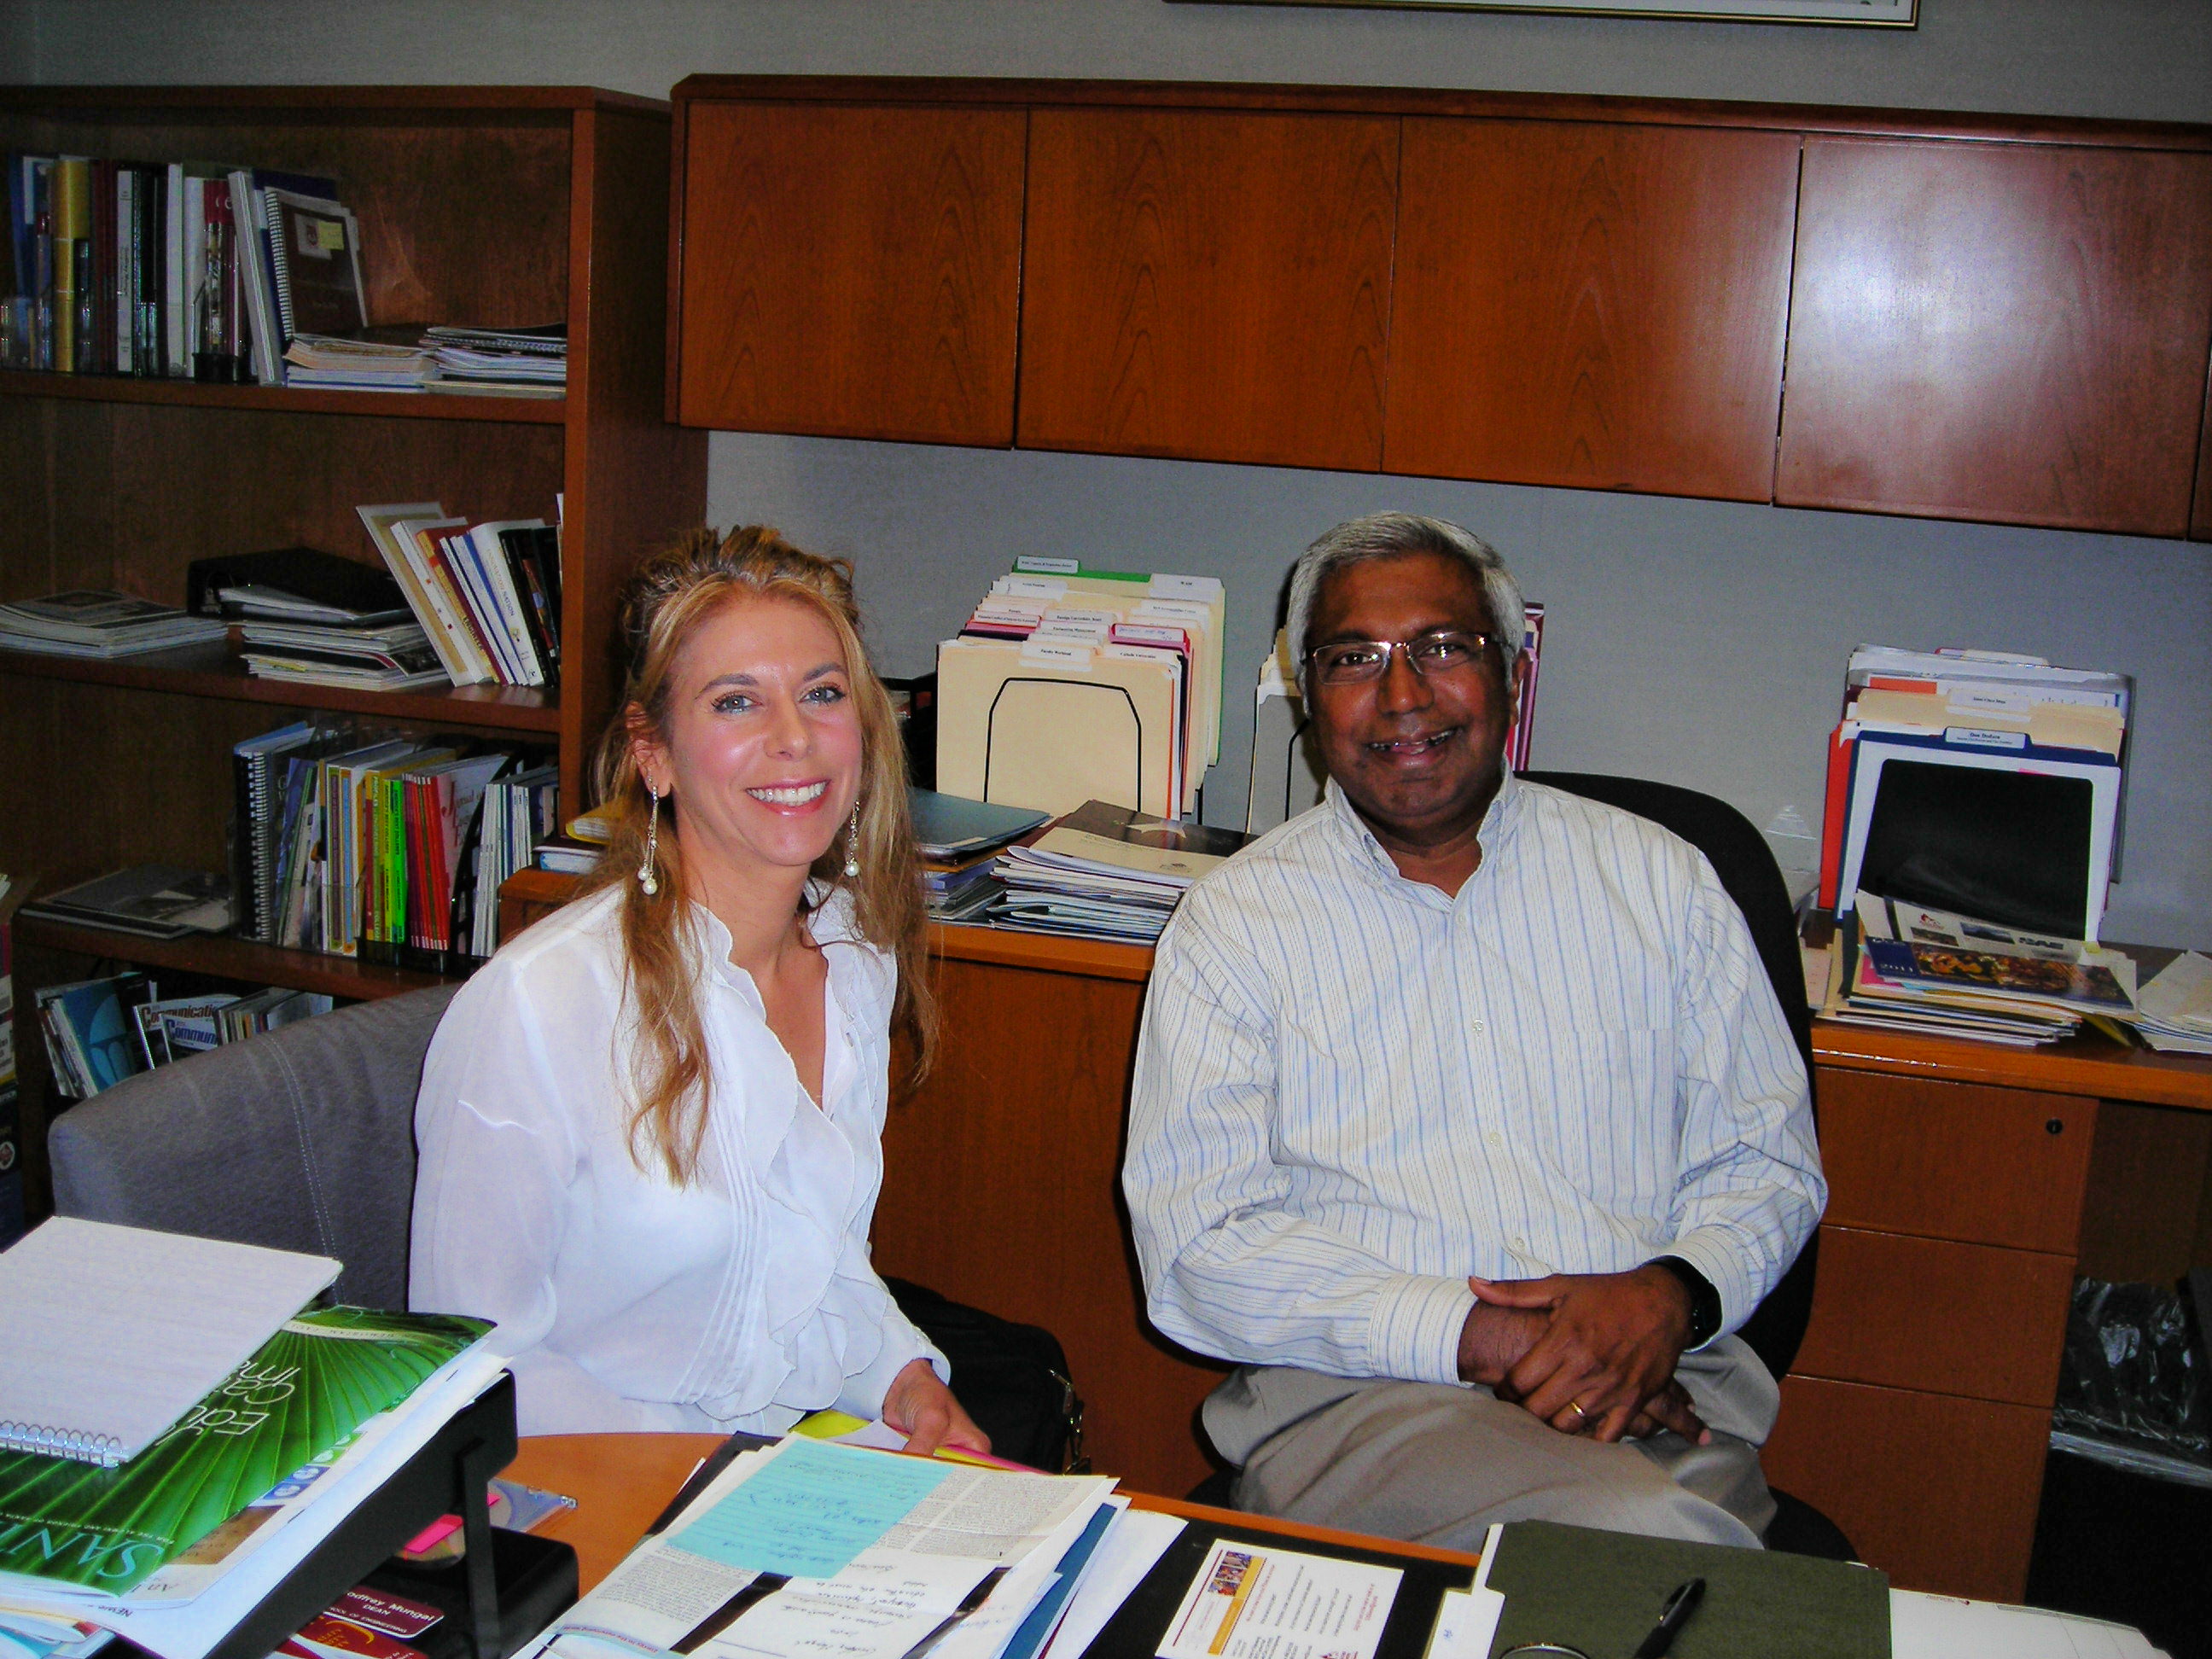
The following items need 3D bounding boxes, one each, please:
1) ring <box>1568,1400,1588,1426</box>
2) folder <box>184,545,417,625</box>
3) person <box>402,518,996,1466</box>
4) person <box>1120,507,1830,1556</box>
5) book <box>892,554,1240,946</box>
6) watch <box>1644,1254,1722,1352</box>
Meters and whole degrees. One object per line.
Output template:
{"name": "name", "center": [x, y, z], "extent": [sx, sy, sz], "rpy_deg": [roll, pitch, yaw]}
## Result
{"name": "ring", "center": [0.514, 0.637, 1.937], "extent": [0.020, 0.016, 0.021], "rpy_deg": [-8, 38, 6]}
{"name": "folder", "center": [-1.500, -0.476, 3.471], "extent": [0.285, 0.104, 0.292], "rpy_deg": [8, 11, 18]}
{"name": "person", "center": [-0.453, 0.157, 1.912], "extent": [0.563, 0.948, 0.587], "rpy_deg": [-1, 9, -12]}
{"name": "person", "center": [0.426, 0.210, 2.114], "extent": [0.764, 1.148, 0.641], "rpy_deg": [6, 10, 30]}
{"name": "book", "center": [-0.049, -0.141, 2.969], "extent": [0.542, 0.808, 0.551], "rpy_deg": [5, 16, 6]}
{"name": "watch", "center": [0.663, 0.540, 2.026], "extent": [0.082, 0.099, 0.054], "rpy_deg": [14, -16, -28]}
